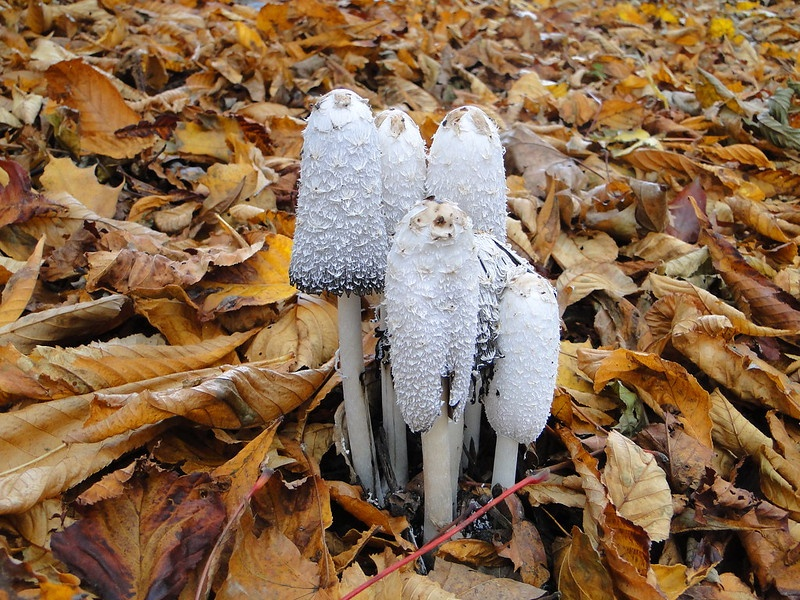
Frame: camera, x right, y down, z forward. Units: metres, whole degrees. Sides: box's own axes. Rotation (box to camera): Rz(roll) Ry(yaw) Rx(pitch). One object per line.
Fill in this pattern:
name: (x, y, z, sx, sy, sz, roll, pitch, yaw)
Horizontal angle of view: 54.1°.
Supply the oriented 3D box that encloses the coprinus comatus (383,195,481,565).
coprinus comatus: (0.114, 0.259, 2.512, 0.340, 0.313, 1.185, 3, 105, 8)
